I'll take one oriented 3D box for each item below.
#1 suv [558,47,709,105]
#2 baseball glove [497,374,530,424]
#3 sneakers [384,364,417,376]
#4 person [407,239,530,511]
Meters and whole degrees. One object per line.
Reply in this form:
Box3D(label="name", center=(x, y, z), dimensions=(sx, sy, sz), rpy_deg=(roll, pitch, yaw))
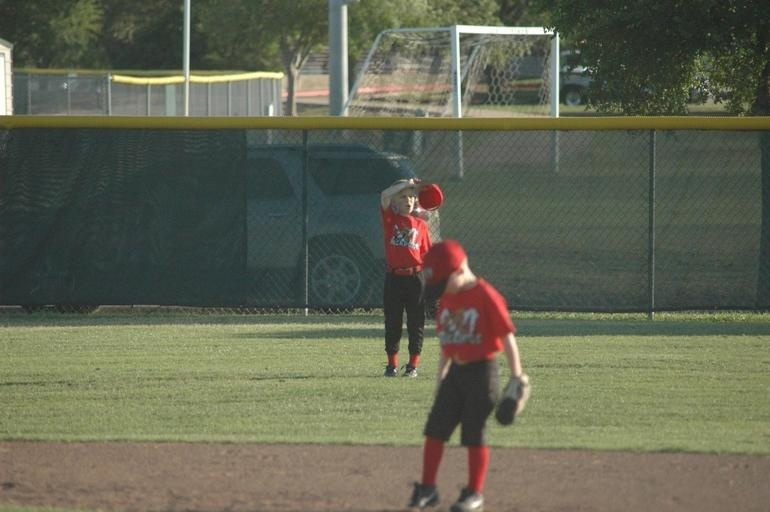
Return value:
Box3D(label="suv", center=(6.568, -5.453, 57.048), dimensions=(1.449, 1.285, 2.901), rpy_deg=(-22, 6, -5))
Box3D(label="baseball glove", center=(1.908, 2.111, 27.325), dimensions=(0.390, 0.793, 0.343), rpy_deg=(30, 13, -6))
Box3D(label="sneakers", center=(0.238, 1.828, 29.778), dimensions=(0.578, 0.243, 0.195), rpy_deg=(6, -3, -2))
Box3D(label="person", center=(1.220, 1.771, 27.207), dimensions=(1.546, 3.897, 0.470), rpy_deg=(3, 6, 4))
